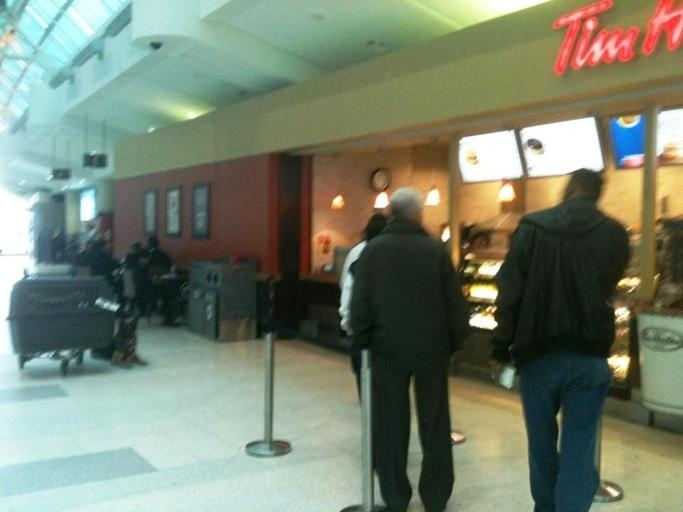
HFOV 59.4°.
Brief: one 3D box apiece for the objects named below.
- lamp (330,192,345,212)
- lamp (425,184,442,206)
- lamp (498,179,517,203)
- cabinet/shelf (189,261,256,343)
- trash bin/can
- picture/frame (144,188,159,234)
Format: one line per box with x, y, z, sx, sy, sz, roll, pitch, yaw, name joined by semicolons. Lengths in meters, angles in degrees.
-0.064;-0.868;9.755;0.194;0.247;0.092;25;29;8;lamp
1.480;-0.973;9.794;0.238;0.341;0.348;2;-7;-5;lamp
2.264;-0.866;8.187;0.265;0.242;0.259;-8;9;-34;lamp
-1.867;0.633;9.129;0.820;1.101;1.138;-5;5;-35;cabinet/shelf
-1.722;0.675;8.773;0.741;1.201;1.263;1;0;-33;trash bin/can
-4.122;-1.000;13.004;0.123;1.079;1.054;1;-1;-30;picture/frame
